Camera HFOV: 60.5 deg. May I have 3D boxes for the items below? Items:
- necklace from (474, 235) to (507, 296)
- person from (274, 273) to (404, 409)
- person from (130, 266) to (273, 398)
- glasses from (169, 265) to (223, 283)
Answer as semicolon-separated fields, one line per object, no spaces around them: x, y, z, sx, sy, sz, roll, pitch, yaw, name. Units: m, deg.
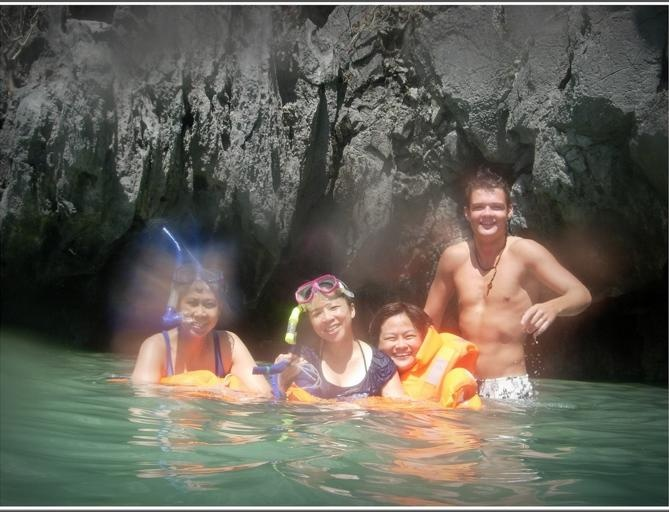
1.403;0.082;5.250;0.264;0.477;0.245;-13;-21;31;necklace
0.054;0.743;4.651;1.154;1.228;0.707;0;-4;23;person
-1.068;0.732;4.646;0.961;1.245;0.908;0;-4;-6;person
-1.157;0.156;4.759;0.242;0.097;0.198;-3;-6;36;glasses
